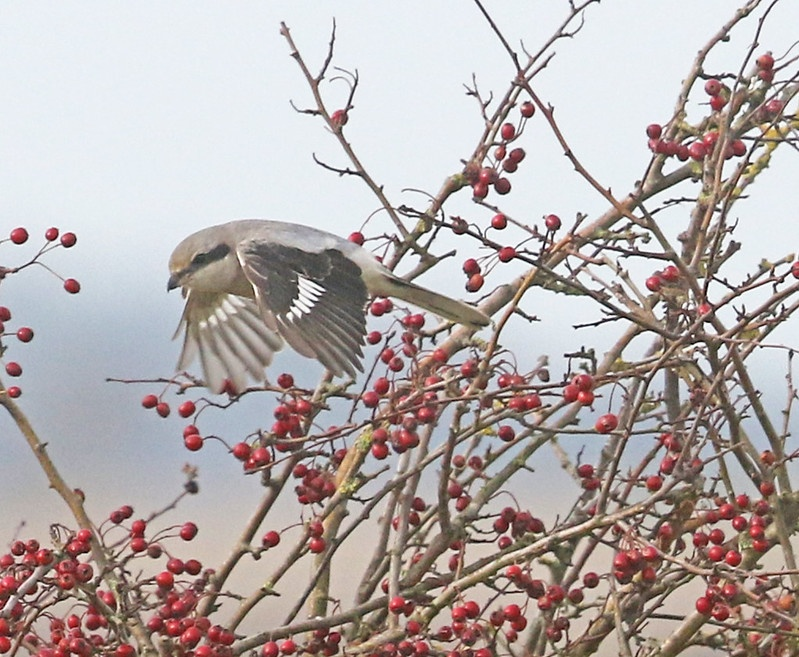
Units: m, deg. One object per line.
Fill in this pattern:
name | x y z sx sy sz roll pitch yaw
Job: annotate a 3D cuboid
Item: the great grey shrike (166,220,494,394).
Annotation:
great grey shrike | -0.532 -0.181 7.113 1.162 0.953 0.488 -9 -89 -2
